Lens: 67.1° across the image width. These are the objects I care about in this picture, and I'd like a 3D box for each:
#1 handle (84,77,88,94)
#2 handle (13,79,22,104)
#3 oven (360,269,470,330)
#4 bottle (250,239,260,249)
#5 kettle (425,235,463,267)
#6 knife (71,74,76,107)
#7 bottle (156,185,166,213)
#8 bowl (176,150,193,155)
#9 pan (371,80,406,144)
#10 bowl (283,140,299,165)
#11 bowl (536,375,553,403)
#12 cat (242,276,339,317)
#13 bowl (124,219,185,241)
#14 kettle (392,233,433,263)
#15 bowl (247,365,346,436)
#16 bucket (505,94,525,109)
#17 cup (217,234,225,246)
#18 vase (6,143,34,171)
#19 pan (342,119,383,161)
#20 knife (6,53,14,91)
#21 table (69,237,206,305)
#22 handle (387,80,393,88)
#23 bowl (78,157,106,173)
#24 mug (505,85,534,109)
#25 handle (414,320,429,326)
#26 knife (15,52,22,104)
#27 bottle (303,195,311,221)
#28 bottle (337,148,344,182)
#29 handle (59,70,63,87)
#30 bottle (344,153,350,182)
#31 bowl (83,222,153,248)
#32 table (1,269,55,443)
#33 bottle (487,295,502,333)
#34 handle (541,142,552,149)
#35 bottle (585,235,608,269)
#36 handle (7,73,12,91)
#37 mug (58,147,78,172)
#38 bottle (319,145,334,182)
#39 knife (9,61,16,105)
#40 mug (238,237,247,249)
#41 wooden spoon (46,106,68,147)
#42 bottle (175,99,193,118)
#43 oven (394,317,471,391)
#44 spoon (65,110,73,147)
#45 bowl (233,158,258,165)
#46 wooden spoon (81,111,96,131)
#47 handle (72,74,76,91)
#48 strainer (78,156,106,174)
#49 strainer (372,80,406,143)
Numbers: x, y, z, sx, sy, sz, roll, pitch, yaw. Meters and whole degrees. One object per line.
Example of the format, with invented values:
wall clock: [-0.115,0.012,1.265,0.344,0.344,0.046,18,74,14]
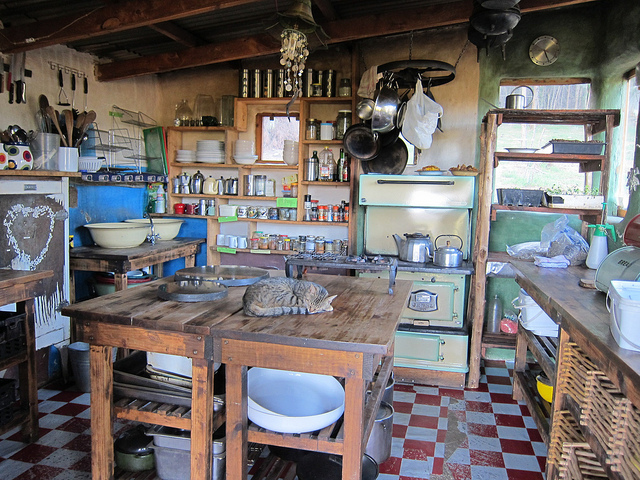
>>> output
handle: [-2.388,-1.594,4.967,0.025,0.168,0.079,-1,9,-11]
handle: [-2.617,-1.306,4.238,0.048,0.200,0.056,3,10,8]
oven: [1.095,0.509,4.536,1.051,0.498,0.601,2,2,13]
bottle: [-0.729,0.045,5.484,0.093,0.085,0.091,2,6,5]
kettle: [1.169,0.084,4.551,0.336,0.289,0.257,2,13,13]
knife: [-2.439,-1.508,4.838,0.033,0.307,0.069,-3,10,-20]
bottle: [-1.842,-0.487,5.665,0.106,0.322,0.070,-5,10,-31]
bowl: [-1.572,-1.040,5.687,0.167,0.057,0.136,-3,9,-23]
pan: [0.581,-1.148,4.248,0.269,0.432,0.400,5,8,4]
bowl: [-0.306,-0.975,5.357,0.242,0.255,0.237,0,1,0]
bowl: [1.666,1.124,3.654,0.142,0.097,0.139,1,4,0]
cat: [-0.181,0.309,2.774,0.393,0.124,0.239,1,0,-16]
bowl: [-1.682,-0.130,5.264,0.349,0.139,0.343,1,8,0]
kettle: [0.940,0.063,4.682,0.473,0.286,0.337,2,4,21]
bowl: [-0.150,0.920,2.737,0.546,0.198,0.552,2,4,0]
bucket: [1.702,-1.204,4.242,0.164,0.117,0.123,3,7,29]
cup: [-1.139,0.000,5.603,0.113,0.119,0.111,3,6,0]
vase: [-2.320,-0.645,3.797,0.193,0.180,0.190,1,-1,13]
pan: [0.416,-0.946,4.683,0.393,0.385,0.081,-13,28,35]
knife: [-2.673,-1.465,4.205,0.042,0.322,0.018,0,-4,19]
table: [-1.731,0.215,4.671,0.811,0.565,1.322,4,6,2]
handle: [0.639,-1.429,4.401,0.073,0.067,0.023,2,3,-20]
bowl: [-2.176,-0.724,4.632,0.171,0.100,0.168,0,4,0]
mug: [1.745,-1.230,4.230,0.192,0.192,0.109,9,6,17]
handle: [0.944,0.769,4.480,0.132,0.052,0.009,1,9,2]
knife: [-2.628,-1.428,4.240,0.023,0.406,0.058,2,1,41]
bottle: [-0.136,-0.362,5.383,0.083,0.283,0.101,0,9,-3]
bottle: [0.227,-0.796,5.187,0.067,0.333,0.073,1,9,0]
handle: [-2.482,-1.569,4.669,0.022,0.164,0.063,-2,9,-18]
bottle: [0.295,-0.778,5.197,0.054,0.294,0.119,1,9,2]
bowl: [-1.877,-0.080,4.706,0.481,0.221,0.653,5,7,10]
table: [-2.037,0.816,3.375,0.237,1.048,0.583,4,12,-9]
bottle: [1.818,0.760,5.037,0.137,0.357,0.157,4,9,20]
handle: [1.977,-0.830,4.220,0.031,0.025,0.107,22,-21,3]
bottle: [2.023,0.090,3.539,0.128,0.255,0.111,5,10,29]
handle: [-2.677,-1.384,4.208,0.019,0.153,0.050,4,9,19]
mug: [-2.196,-0.703,4.289,0.219,0.237,0.215,0,4,-14]
bottle: [0.079,-0.830,5.256,0.157,0.359,0.157,1,9,0]
knife: [-2.663,-1.369,4.213,0.018,0.318,0.053,7,4,39]
mug: [-0.869,0.032,5.509,0.100,0.128,0.046,-1,9,-10]
wooden spoon: [-2.344,-1.022,4.313,0.136,0.341,0.143,2,9,7]
bottle: [-1.627,-1.605,5.840,0.127,0.210,0.246,-7,11,-40]
oven: [1.131,0.986,4.772,0.804,0.576,0.787,1,-5,19]
spoon: [-2.233,-1.011,4.349,0.055,0.313,0.045,2,14,-11]
bowl: [-0.847,-0.902,5.506,0.237,0.071,0.069,-1,9,-9]
wooden spoon: [-2.128,-1.113,4.510,0.087,0.188,0.201,0,8,-1]
handle: [-2.440,-1.581,4.828,0.024,0.163,0.074,-1,9,-9]
strainer: [-2.182,-0.736,4.684,0.167,0.121,0.194,0,-6,-4]
strainer: [0.595,-1.127,4.272,0.231,0.579,0.413,7,3,28]
